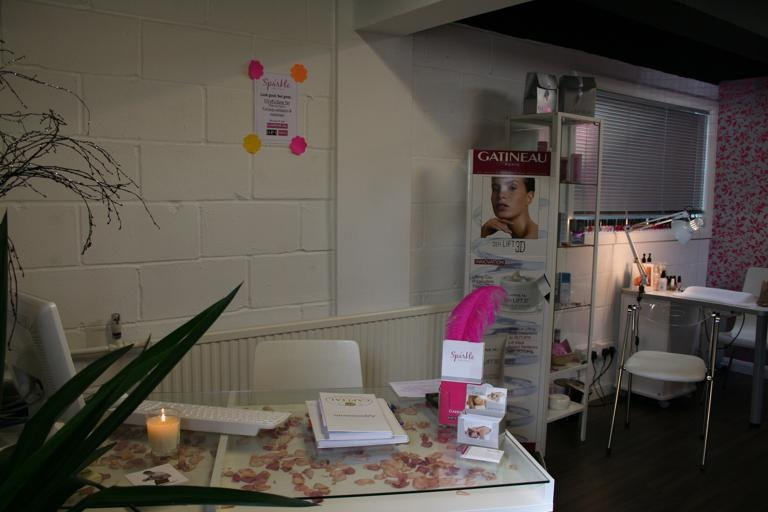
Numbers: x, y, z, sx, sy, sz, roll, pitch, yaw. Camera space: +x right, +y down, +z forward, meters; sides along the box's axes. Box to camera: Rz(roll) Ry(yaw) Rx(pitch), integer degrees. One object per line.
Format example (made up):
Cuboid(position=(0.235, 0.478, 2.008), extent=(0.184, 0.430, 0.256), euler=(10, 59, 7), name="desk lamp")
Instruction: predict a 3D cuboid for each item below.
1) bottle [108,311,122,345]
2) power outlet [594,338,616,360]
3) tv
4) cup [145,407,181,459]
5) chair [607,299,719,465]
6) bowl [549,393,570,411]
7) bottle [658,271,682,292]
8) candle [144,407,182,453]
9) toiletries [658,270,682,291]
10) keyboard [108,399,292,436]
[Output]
Cuboid(position=(-1.435, 0.390, 2.719), extent=(0.067, 0.158, 0.076), euler=(-4, 16, -27), name="bottle")
Cuboid(position=(2.010, 0.858, 4.652), extent=(0.231, 0.151, 0.121), euler=(-1, 1, -38), name="power outlet")
Cuboid(position=(-1.245, 0.366, 1.846), extent=(0.183, 0.377, 0.546), euler=(-10, 14, -43), name="tv")
Cuboid(position=(-0.809, 0.661, 1.907), extent=(0.156, 0.169, 0.156), euler=(2, 1, 0), name="cup")
Cuboid(position=(2.255, 0.914, 4.029), extent=(0.756, 1.052, 1.351), euler=(11, 15, 25), name="chair")
Cuboid(position=(1.342, 1.121, 3.878), extent=(0.122, 0.065, 0.120), euler=(0, 0, 0), name="bowl")
Cuboid(position=(2.648, 0.251, 4.713), extent=(0.230, 0.181, 0.224), euler=(-1, 2, 0), name="bottle")
Cuboid(position=(-0.806, 0.665, 1.965), extent=(0.149, 0.161, 0.148), euler=(3, 0, 3), name="candle")
Cuboid(position=(2.622, 0.244, 4.699), extent=(0.230, 0.208, 0.224), euler=(1, -2, -35), name="toiletries")
Cuboid(position=(-0.757, 0.666, 2.077), extent=(0.650, 0.063, 0.191), euler=(6, -2, -4), name="keyboard")
